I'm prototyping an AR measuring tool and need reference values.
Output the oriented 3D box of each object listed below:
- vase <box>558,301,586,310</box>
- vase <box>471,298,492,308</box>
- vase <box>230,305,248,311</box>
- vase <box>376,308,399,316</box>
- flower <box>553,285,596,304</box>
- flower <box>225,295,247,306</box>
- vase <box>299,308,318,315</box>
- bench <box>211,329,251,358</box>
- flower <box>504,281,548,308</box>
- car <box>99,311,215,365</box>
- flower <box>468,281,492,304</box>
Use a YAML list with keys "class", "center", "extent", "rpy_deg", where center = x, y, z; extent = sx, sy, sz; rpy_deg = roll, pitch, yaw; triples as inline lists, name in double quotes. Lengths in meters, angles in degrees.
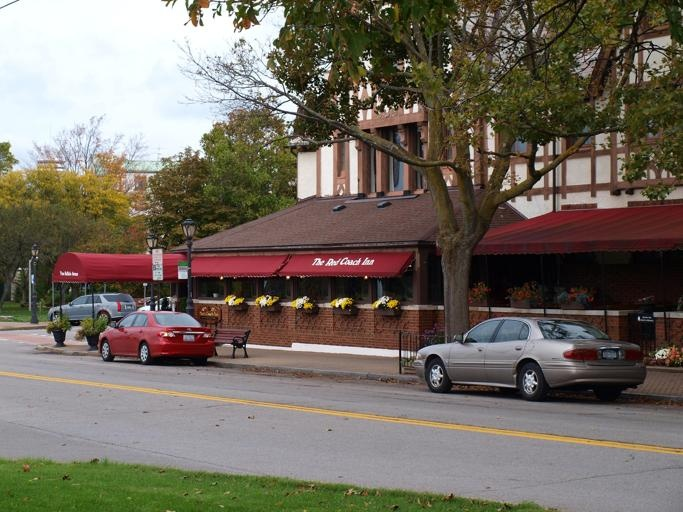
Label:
- class: "vase"
  center: [7.031, 1.467, 28.920]
  extent: [0.235, 0.246, 0.799]
  rpy_deg: [6, -8, -43]
- class: "vase"
  center: [4.539, 1.494, 31.124]
  extent: [0.607, 0.213, 0.304]
  rpy_deg: [-2, -7, 28]
- class: "vase"
  center: [-3.945, 2.030, 38.407]
  extent: [0.304, 0.276, 0.884]
  rpy_deg: [6, -8, -38]
- class: "vase"
  center: [1.683, 1.857, 32.313]
  extent: [0.271, 0.242, 0.916]
  rpy_deg: [7, -8, -44]
- class: "flower"
  center: [7.181, 1.195, 29.356]
  extent: [0.780, 0.555, 1.349]
  rpy_deg: [3, -6, -20]
- class: "flower"
  center: [-4.067, 1.723, 38.410]
  extent: [0.456, 0.435, 0.920]
  rpy_deg: [6, -8, -40]
- class: "vase"
  center: [-1.078, 2.007, 35.298]
  extent: [0.370, 0.254, 0.862]
  rpy_deg: [5, -7, -34]
- class: "bench"
  center: [-3.528, 2.924, 33.076]
  extent: [0.739, 0.918, 2.199]
  rpy_deg: [1, 0, -31]
- class: "flower"
  center: [5.905, 1.255, 30.208]
  extent: [0.864, 0.672, 0.788]
  rpy_deg: [0, -6, 6]
- class: "car"
  center: [-5.874, 2.559, 30.824]
  extent: [3.538, 1.635, 1.364]
  rpy_deg: [-2, -6, 31]
- class: "flower"
  center: [4.563, 1.162, 31.280]
  extent: [0.663, 0.714, 0.642]
  rpy_deg: [1, -4, 10]
